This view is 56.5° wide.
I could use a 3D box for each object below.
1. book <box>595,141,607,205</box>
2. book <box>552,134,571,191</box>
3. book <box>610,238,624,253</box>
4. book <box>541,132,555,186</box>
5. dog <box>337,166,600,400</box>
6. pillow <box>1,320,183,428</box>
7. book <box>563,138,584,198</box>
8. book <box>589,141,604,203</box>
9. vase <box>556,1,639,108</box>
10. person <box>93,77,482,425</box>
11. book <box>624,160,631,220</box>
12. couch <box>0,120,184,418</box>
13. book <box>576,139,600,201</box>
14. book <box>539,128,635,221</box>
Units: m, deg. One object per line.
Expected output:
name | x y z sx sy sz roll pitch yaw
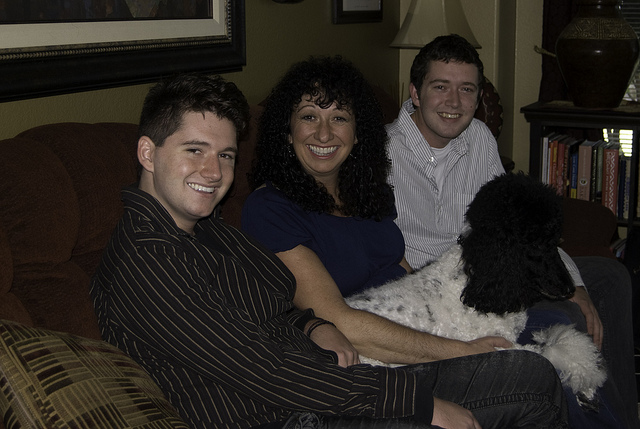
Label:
book | 1.993 -0.288 4.266 0.070 0.339 0.312 -3 9 14
book | 1.726 -0.354 4.280 0.045 0.441 0.325 4 16 24
book | 2.000 0.210 4.030 0.016 0.030 0.120 22 40 32
book | 1.628 -0.384 4.266 0.053 0.430 0.360 1 15 21
dog | 0.572 0.396 2.444 1.007 0.724 0.394 -14 -17 29
pillow | -0.643 0.427 1.676 0.357 0.119 0.384 40 9 8
book | 1.812 -0.336 4.353 0.080 0.400 0.363 3 5 22
book | 1.960 -0.294 4.280 0.069 0.342 0.309 2 5 20
vase | 1.849 -1.144 4.234 0.599 0.830 0.642 6 21 22
person | -0.106 -0.028 2.655 1.437 1.805 0.889 -4 13 -2
book | 2.174 -0.173 4.229 0.035 0.423 0.037 2 8 14
couch | -0.775 0.129 1.954 0.497 0.828 0.826 -2 9 -17
book | 1.898 -0.303 4.246 0.080 0.384 0.343 2 4 17
book | 1.779 -0.252 3.985 0.520 0.572 0.298 9 1 19
